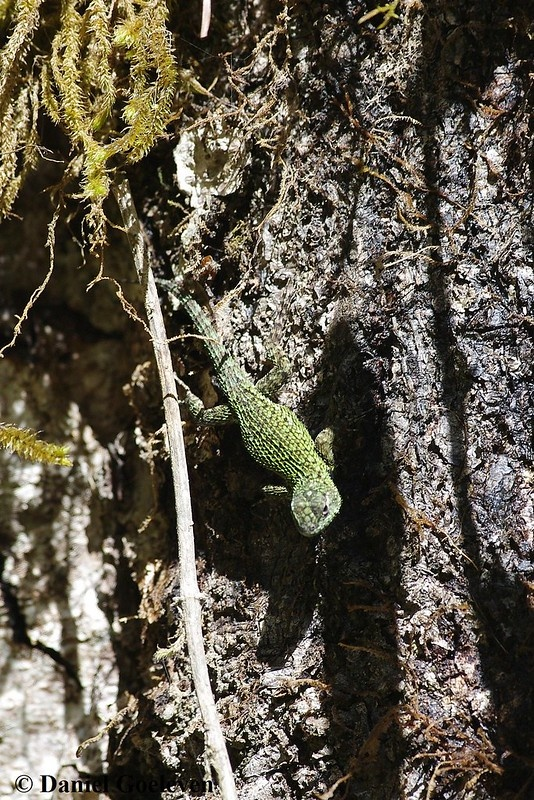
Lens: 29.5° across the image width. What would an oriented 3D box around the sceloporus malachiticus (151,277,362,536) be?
[{"bbox_3d":[-0.043,-0.005,3.448,0.366,0.992,0.165,-30,0,-8],"label":"sceloporus malachiticus"}]
